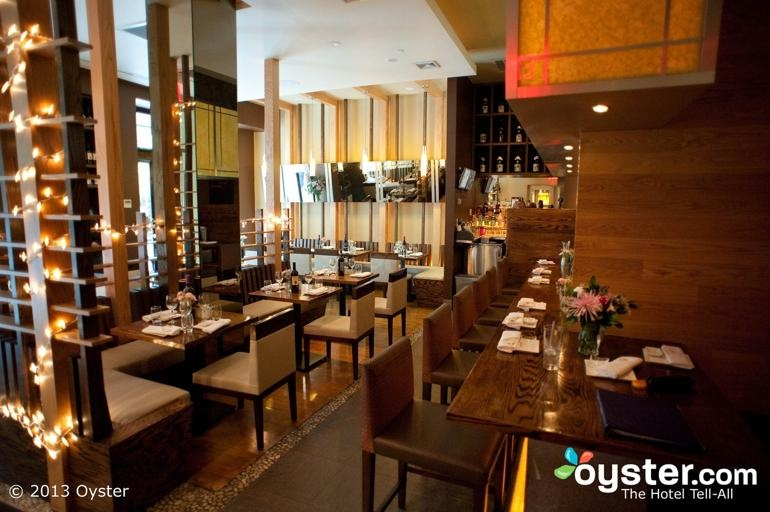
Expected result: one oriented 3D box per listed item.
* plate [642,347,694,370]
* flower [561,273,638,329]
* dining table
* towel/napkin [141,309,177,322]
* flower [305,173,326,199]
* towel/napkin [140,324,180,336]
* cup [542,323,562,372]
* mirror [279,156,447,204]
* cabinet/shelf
[{"bbox_3d":[1.954,0.704,3.705,0.188,0.029,0.183,5,14,18],"label":"plate"},{"bbox_3d":[1.509,0.305,3.929,0.529,0.452,0.206,-11,-38,14],"label":"flower"},{"bbox_3d":[-1.978,0.930,5.218,1.196,1.080,1.181,16,17,22],"label":"dining table"},{"bbox_3d":[-2.065,0.553,4.891,0.162,0.036,0.159,4,7,29],"label":"towel/napkin"},{"bbox_3d":[-1.405,-1.431,10.880,0.450,0.429,0.163,0,11,17],"label":"flower"},{"bbox_3d":[-1.939,0.635,4.633,0.356,0.041,0.224,2,14,7],"label":"towel/napkin"},{"bbox_3d":[1.154,0.594,3.672,0.125,0.314,0.230,4,16,16],"label":"cup"},{"bbox_3d":[-0.484,-1.475,10.505,3.447,0.918,0.305,6,17,24],"label":"mirror"},{"bbox_3d":[2.140,-2.258,9.486,1.195,1.598,0.482,4,16,17],"label":"cabinet/shelf"}]
